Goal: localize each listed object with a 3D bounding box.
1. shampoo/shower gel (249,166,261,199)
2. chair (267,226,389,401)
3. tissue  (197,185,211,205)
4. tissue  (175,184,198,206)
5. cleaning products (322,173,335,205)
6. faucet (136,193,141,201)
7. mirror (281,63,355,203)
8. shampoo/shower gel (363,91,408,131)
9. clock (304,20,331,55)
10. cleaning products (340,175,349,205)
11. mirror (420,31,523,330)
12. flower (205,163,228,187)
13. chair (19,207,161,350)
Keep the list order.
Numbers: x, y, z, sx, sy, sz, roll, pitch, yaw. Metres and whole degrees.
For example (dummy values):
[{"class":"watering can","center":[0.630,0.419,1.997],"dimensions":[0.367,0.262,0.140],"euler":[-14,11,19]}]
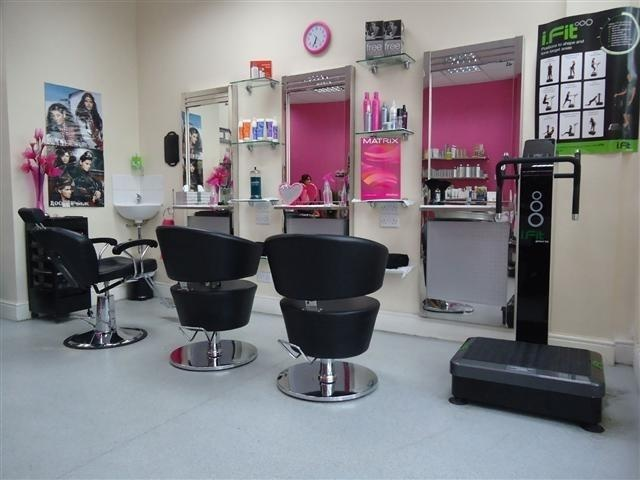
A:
[{"class":"shampoo/shower gel","center":[-0.641,-0.571,4.730],"dimensions":[0.125,0.296,0.277],"euler":[-2,14,-8]},{"class":"chair","center":[0.048,0.456,3.211],"dimensions":[0.835,1.033,0.759],"euler":[-1,3,21]},{"class":"tissue ","center":[-1.252,-0.485,5.105],"dimensions":[0.221,0.210,0.118],"euler":[0,5,-28]},{"class":"tissue ","center":[-1.444,-0.478,5.135],"dimensions":[0.234,0.149,0.235],"euler":[1,2,32]},{"class":"cleaning products","center":[0.070,-0.475,4.356],"dimensions":[0.112,0.280,0.100],"euler":[4,14,16]},{"class":"faucet","center":[-2.110,-0.497,5.486],"dimensions":[0.031,0.100,0.066],"euler":[11,17,37]},{"class":"mirror","center":[-0.029,-1.033,4.431],"dimensions":[0.835,1.122,0.224],"euler":[8,16,31]},{"class":"shampoo/shower gel","center":[0.581,-1.108,4.091],"dimensions":[0.381,0.369,0.170],"euler":[1,-2,14]},{"class":"clock","center":[-0.030,-1.884,4.390],"dimensions":[0.281,0.281,0.021],"euler":[-19,41,-26]},{"class":"cleaning products","center":[0.230,-0.457,4.303],"dimensions":[0.096,0.272,0.027],"euler":[8,16,30]},{"class":"mirror","center":[1.215,-0.446,3.862],"dimensions":[0.848,2.277,0.456],"euler":[4,14,17]},{"class":"flower","center":[-1.097,-0.681,4.992],"dimensions":[0.272,0.243,0.085],"euler":[11,17,39]},{"class":"chair","center":[-1.938,0.337,4.016],"dimensions":[0.778,1.136,0.973],"euler":[1,4,38]}]
